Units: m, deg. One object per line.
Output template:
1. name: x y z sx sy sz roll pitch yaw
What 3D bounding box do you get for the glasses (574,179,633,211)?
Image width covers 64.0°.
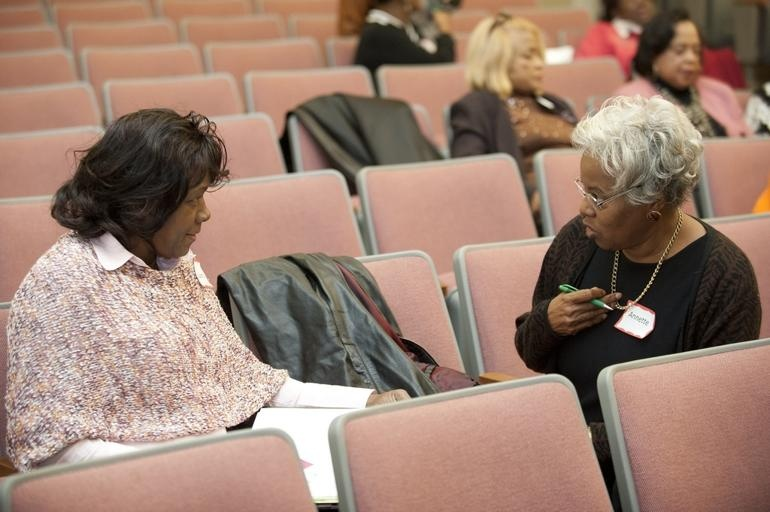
1. glasses: 0.655 -0.172 1.809 0.132 0.040 0.129 -12 18 -10

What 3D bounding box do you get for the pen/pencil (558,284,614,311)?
1. pen/pencil: 0.623 0.131 1.908 0.126 0.013 0.021 29 40 7

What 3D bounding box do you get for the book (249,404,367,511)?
1. book: -0.211 0.505 1.627 0.264 0.064 0.270 4 40 -21

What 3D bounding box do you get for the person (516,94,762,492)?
1. person: 0.755 0.029 1.866 0.564 0.879 0.647 -22 36 -24

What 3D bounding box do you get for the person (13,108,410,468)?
1. person: -0.292 0.139 1.991 0.969 1.391 0.970 -4 4 8

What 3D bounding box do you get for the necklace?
1. necklace: 0.804 0.022 1.911 0.050 0.349 0.184 7 18 -39

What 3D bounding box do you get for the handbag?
1. handbag: 0.159 0.327 2.046 0.113 0.145 0.354 -14 16 -41
